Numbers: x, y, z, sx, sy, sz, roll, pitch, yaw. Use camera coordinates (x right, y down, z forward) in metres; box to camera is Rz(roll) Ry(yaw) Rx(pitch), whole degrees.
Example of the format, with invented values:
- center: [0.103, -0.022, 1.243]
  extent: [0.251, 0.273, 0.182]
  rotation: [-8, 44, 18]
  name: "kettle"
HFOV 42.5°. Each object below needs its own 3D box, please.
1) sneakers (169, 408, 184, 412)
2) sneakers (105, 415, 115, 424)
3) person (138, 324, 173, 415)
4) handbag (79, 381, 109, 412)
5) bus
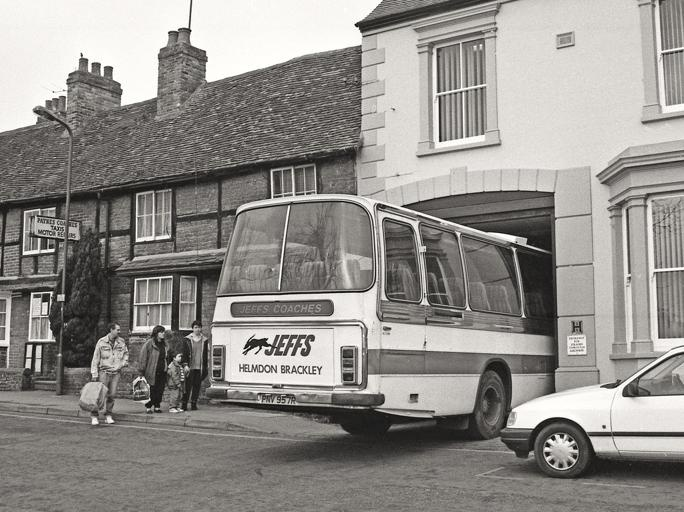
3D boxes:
- center: [-3.743, 3.493, 19.702]
  extent: [0.340, 0.143, 0.115]
  rotation: [2, 15, -6]
  name: "sneakers"
- center: [-4.823, 3.382, 18.099]
  extent: [0.102, 0.119, 0.299]
  rotation: [3, -13, -34]
  name: "sneakers"
- center: [-4.238, 2.535, 19.622]
  extent: [0.608, 1.941, 0.868]
  rotation: [0, -1, -10]
  name: "person"
- center: [-5.040, 2.880, 17.840]
  extent: [0.582, 0.607, 0.529]
  rotation: [1, -2, -31]
  name: "handbag"
- center: [1.316, 1.525, 18.195]
  extent: [3.224, 3.849, 9.957]
  rotation: [-3, -7, 27]
  name: "bus"
